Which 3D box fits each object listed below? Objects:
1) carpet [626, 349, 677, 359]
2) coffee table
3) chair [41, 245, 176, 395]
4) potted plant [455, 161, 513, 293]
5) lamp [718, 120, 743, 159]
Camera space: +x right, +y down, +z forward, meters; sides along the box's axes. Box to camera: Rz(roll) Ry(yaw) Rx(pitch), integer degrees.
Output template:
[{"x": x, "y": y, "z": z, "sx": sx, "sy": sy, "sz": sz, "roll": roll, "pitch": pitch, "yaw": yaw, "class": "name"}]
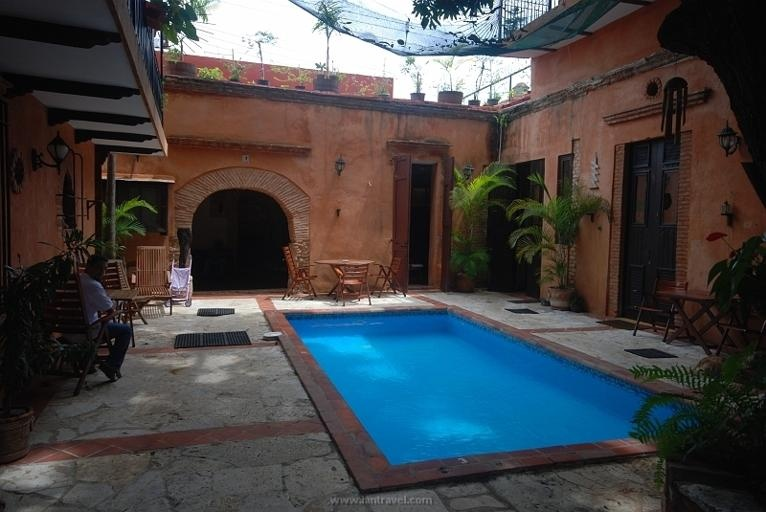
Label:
[{"x": 3.991, "y": 1.441, "z": 7.383, "sx": 0.600, "sy": 0.015, "sz": 0.524, "roll": 0, "pitch": 7, "yaw": -19, "class": "carpet"}, {"x": 4.794, "y": 1.014, "z": 7.492, "sx": 0.945, "sy": 0.782, "sz": 0.899, "roll": -5, "pitch": 9, "yaw": -28, "class": "coffee table"}, {"x": -3.389, "y": 0.740, "z": 5.793, "sx": 0.581, "sy": 1.497, "sz": 0.683, "roll": 8, "pitch": 10, "yaw": 34, "class": "chair"}, {"x": 2.526, "y": -0.845, "z": 13.360, "sx": 1.318, "sy": 3.330, "sz": 1.546, "roll": 8, "pitch": 10, "yaw": 35, "class": "potted plant"}, {"x": 5.461, "y": -1.853, "z": 7.810, "sx": 0.225, "sy": 0.539, "sz": 0.286, "roll": -4, "pitch": 10, "yaw": -37, "class": "lamp"}]
